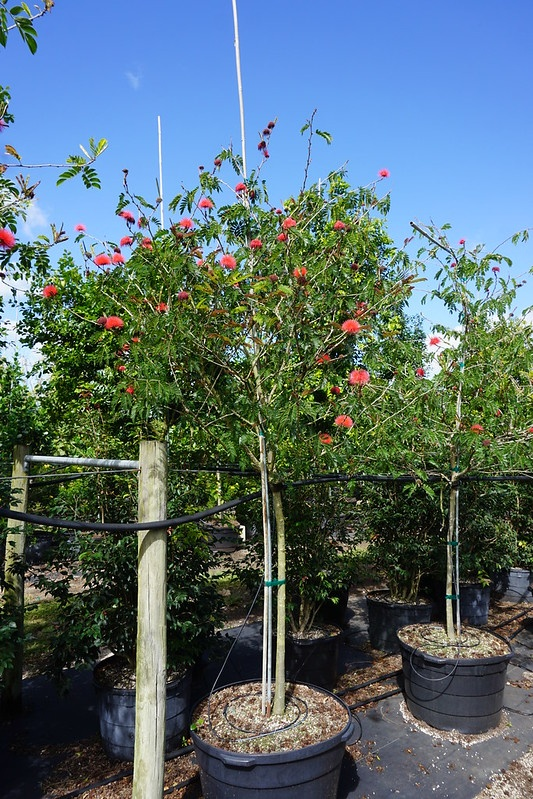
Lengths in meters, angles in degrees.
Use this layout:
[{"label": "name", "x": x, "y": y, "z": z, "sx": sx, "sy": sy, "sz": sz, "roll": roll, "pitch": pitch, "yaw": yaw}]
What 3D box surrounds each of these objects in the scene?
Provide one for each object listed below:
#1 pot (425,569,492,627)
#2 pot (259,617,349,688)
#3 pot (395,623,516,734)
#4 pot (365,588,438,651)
[{"label": "pot", "x": 1.894, "y": 1.951, "z": 5.995, "sx": 0.718, "sy": 0.507, "sz": 0.699, "roll": 0, "pitch": -10, "yaw": 0}, {"label": "pot", "x": 0.311, "y": 1.700, "z": 4.030, "sx": 0.442, "sy": 0.333, "sz": 0.456, "roll": 1, "pitch": -18, "yaw": 0}, {"label": "pot", "x": 1.216, "y": 1.713, "z": 3.688, "sx": 0.605, "sy": 0.364, "sz": 0.629, "roll": 4, "pitch": -16, "yaw": 1}, {"label": "pot", "x": 1.148, "y": 1.821, "z": 5.061, "sx": 0.541, "sy": 0.401, "sz": 0.556, "roll": 0, "pitch": -13, "yaw": 0}]
